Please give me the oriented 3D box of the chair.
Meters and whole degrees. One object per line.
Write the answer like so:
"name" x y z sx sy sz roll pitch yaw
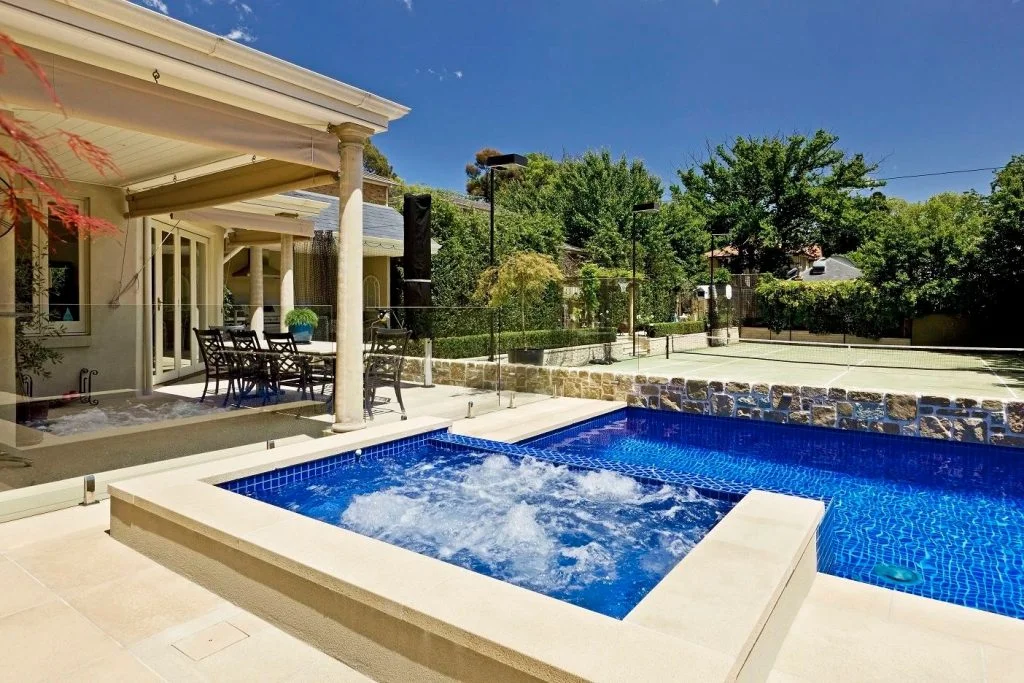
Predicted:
"chair" -3.188 0.453 9.465 2.771 1.081 0.968 -4 2 -21

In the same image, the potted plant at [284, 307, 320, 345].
"potted plant" -3.103 -0.248 9.359 0.486 0.471 0.478 0 -6 -9
